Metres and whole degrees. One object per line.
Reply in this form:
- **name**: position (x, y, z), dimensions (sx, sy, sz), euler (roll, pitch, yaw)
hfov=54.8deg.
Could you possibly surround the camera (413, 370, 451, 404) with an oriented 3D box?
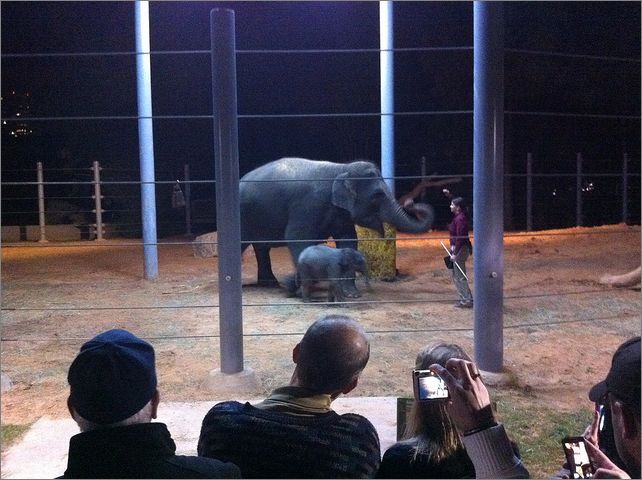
- **camera**: position (0.462, 0.589, 2.586), dimensions (0.167, 0.119, 0.160), euler (2, 6, 12)

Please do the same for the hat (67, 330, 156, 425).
- **hat**: position (-0.760, 0.509, 2.279), dimensions (0.263, 0.340, 0.198), euler (5, -25, -7)
